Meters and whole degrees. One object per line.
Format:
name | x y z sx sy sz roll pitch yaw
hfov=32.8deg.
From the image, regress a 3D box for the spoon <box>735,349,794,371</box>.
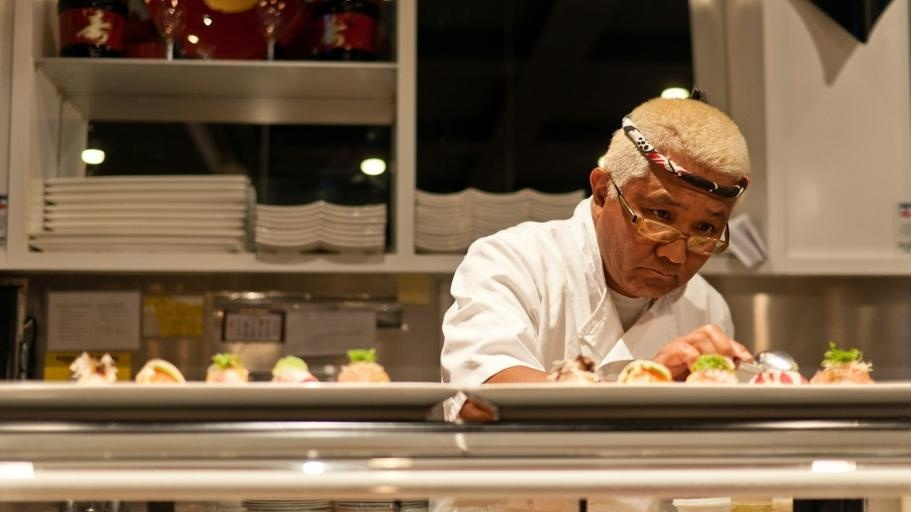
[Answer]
spoon | 1.154 0.390 5.754 0.162 0.036 0.085 -5 3 2
